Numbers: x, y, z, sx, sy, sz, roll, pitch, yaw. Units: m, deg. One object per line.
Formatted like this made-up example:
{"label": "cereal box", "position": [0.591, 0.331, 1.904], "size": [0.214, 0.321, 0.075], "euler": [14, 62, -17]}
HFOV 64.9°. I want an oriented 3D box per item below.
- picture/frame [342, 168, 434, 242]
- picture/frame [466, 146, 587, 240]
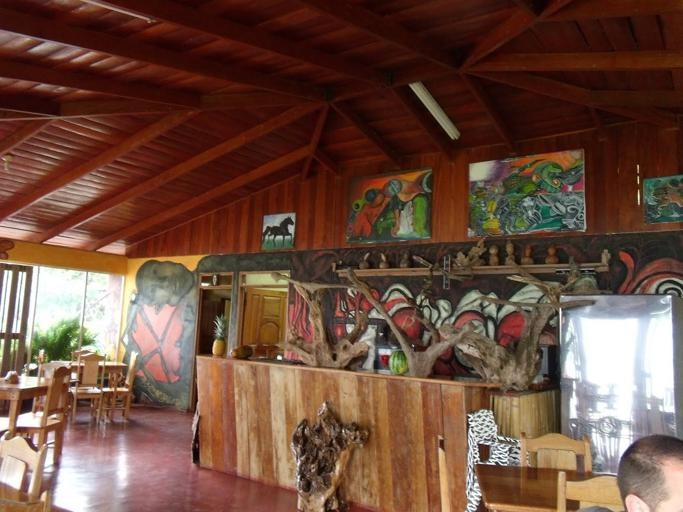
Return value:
{"label": "picture/frame", "position": [0.853, -0.846, 9.028], "size": [1.494, 1.026, 0.058], "euler": [0, -9, 29]}
{"label": "picture/frame", "position": [2.795, -0.913, 7.917], "size": [1.642, 1.028, 0.064], "euler": [-2, -10, 25]}
